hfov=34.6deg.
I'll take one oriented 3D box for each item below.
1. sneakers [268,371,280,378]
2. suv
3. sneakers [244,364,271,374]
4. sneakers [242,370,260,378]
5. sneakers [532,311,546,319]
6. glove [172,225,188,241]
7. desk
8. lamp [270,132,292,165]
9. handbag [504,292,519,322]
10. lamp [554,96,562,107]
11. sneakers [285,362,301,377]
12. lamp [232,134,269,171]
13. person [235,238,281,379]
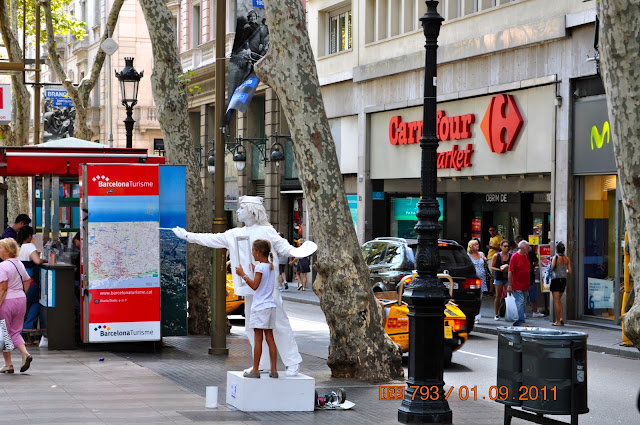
[{"bbox_3d":[-0.799,2.846,17.908,0.071,0.090,0.202,-1,5,-18],"label":"sneakers"},{"bbox_3d":[2.210,1.772,27.793,2.683,2.223,5.911,4,-1,-16],"label":"suv"},{"bbox_3d":[-1.094,2.787,18.203,0.507,0.217,0.173,3,-4,-18],"label":"sneakers"},{"bbox_3d":[-1.176,2.818,17.817,0.281,0.113,0.261,0,0,-4],"label":"sneakers"},{"bbox_3d":[6.160,2.874,28.725,0.359,0.163,0.131,-1,2,17],"label":"sneakers"},{"bbox_3d":[-2.549,0.304,18.859,0.342,0.103,0.267,26,-21,14],"label":"glove"},{"bbox_3d":[-5.849,1.966,22.805,0.619,1.618,1.714,0,0,-22],"label":"desk"},{"bbox_3d":[-1.305,-2.164,34.091,0.721,1.135,0.531,-2,-2,10],"label":"lamp"},{"bbox_3d":[4.908,2.437,26.057,0.314,0.717,0.783,0,0,11],"label":"handbag"},{"bbox_3d":[6.664,-3.166,28.501,0.201,0.313,0.098,0,0,45],"label":"lamp"},{"bbox_3d":[-0.473,2.800,18.133,0.229,0.204,0.180,-3,-6,2],"label":"sneakers"},{"bbox_3d":[-2.591,-2.142,36.142,1.964,1.229,0.499,4,9,32],"label":"lamp"},{"bbox_3d":[-1.062,1.672,18.012,0.659,2.422,0.645,0,0,-4],"label":"person"}]
